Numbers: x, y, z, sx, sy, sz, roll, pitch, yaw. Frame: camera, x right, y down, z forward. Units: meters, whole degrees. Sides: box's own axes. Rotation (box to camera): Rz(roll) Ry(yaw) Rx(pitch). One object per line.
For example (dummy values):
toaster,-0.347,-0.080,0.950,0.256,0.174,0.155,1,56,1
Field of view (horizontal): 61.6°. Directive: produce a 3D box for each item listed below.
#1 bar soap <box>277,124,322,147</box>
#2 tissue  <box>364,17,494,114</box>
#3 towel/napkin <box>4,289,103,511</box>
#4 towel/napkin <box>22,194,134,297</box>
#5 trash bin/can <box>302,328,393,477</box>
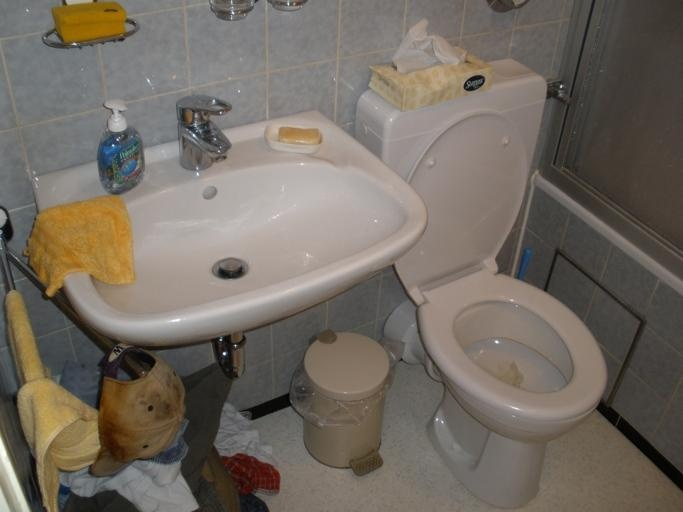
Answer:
bar soap,-0.095,-0.288,1.394,0.082,0.026,0.054,1,46,-11
tissue ,0.232,-0.499,1.470,0.279,0.153,0.162,-20,46,-18
towel/napkin,-0.503,0.250,1.009,0.161,0.212,0.379,-10,48,-29
towel/napkin,-0.505,-0.023,1.145,0.182,0.109,0.172,-21,47,-20
trash bin/can,0.010,0.460,1.772,0.267,0.271,0.268,-21,43,-26
